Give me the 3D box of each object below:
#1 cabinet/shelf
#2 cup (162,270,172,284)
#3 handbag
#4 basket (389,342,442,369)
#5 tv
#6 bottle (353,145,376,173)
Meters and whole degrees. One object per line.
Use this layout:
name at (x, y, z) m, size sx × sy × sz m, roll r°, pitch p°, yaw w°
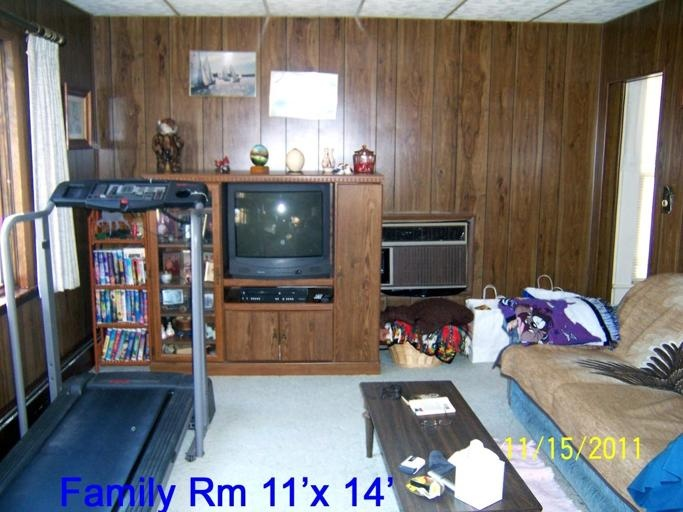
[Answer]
cabinet/shelf at (-0.777, 0.131, 4.167) m, size 1.588 × 1.157 × 0.318 m, roll 0°, pitch 2°, yaw -3°
cup at (-1.431, 0.175, 4.292) m, size 0.085 × 0.078 × 0.085 m, roll 2°, pitch -2°, yaw 0°
handbag at (1.284, 0.608, 4.686) m, size 0.369 × 0.640 × 0.608 m, roll 1°, pitch 9°, yaw 18°
basket at (0.637, 0.833, 4.513) m, size 0.432 × 0.232 × 0.160 m, roll 0°, pitch 8°, yaw 6°
tv at (-0.494, -0.189, 4.578) m, size 1.108 × 0.983 × 0.688 m, roll 0°, pitch 4°, yaw -2°
bottle at (0.184, -0.786, 4.330) m, size 0.216 × 0.256 × 0.226 m, roll 3°, pitch 8°, yaw 17°
